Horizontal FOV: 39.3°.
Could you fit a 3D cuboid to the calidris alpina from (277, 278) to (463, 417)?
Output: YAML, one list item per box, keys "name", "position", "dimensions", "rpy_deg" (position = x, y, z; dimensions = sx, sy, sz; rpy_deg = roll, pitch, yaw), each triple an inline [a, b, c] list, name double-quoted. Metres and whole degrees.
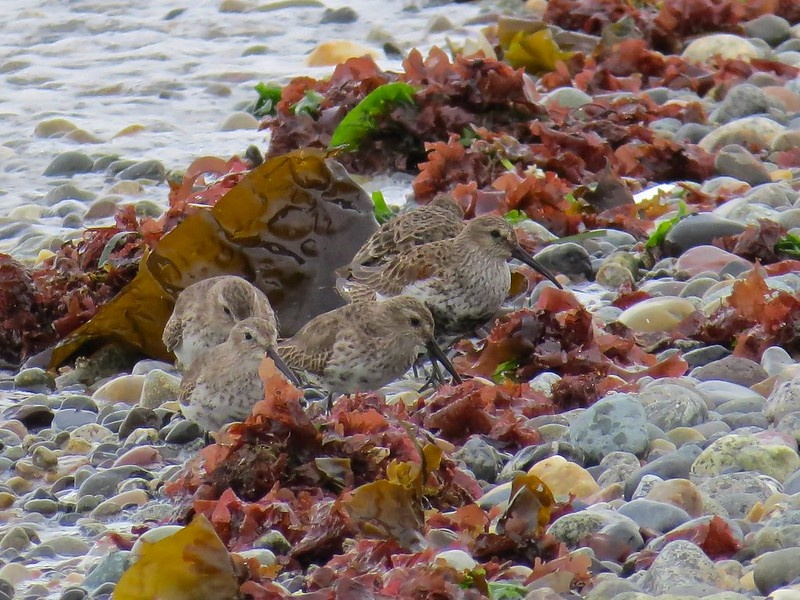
- name: "calidris alpina"
  position: [-0.180, 0.256, 6.210]
  dimensions: [0.871, 0.387, 0.462]
  rpy_deg: [-12, 44, -3]

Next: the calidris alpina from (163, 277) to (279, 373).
- name: "calidris alpina"
  position: [-1.133, 0.133, 6.783]
  dimensions: [0.553, 0.516, 0.778]
  rpy_deg: [-17, 44, -20]

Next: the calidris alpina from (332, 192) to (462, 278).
- name: "calidris alpina"
  position: [0.067, -0.414, 7.262]
  dimensions: [0.967, 0.354, 0.453]
  rpy_deg: [-23, 3, -23]

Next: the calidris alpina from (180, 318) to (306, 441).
- name: "calidris alpina"
  position: [-0.906, 0.450, 6.112]
  dimensions: [0.653, 0.513, 0.481]
  rpy_deg: [-19, 45, -9]
